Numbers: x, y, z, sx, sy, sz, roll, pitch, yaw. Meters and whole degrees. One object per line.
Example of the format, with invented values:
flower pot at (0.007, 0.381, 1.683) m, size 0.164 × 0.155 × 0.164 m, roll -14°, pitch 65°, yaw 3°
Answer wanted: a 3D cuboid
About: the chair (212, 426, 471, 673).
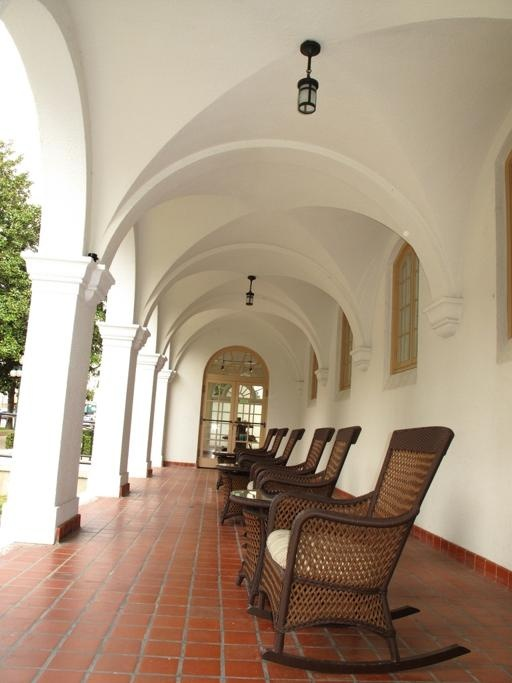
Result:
chair at (0.219, 0.865, 2.439) m, size 1.060 × 1.153 × 0.912 m, roll 5°, pitch -17°, yaw -7°
